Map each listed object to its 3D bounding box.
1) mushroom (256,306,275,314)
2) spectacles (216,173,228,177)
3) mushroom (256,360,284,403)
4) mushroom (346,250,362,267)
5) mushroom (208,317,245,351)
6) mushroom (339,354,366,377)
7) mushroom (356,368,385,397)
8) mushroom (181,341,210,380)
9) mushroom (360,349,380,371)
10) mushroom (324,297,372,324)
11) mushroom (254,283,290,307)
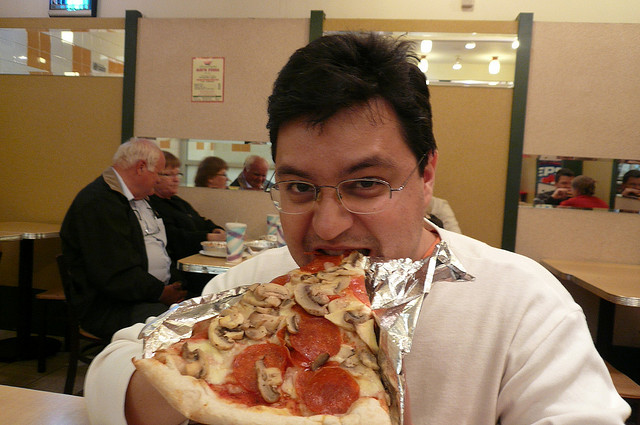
[{"bbox_3d":[-0.227,0.398,2.001,0.047,0.016,0.031,8,-4,-3],"label":"mushroom"},{"bbox_3d":[-0.954,-0.371,4.751,0.105,0.027,0.020,4,7,22],"label":"spectacles"},{"bbox_3d":[-0.191,0.639,1.822,0.095,0.124,0.031,0,-22,-6],"label":"mushroom"},{"bbox_3d":[0.139,0.196,2.108,0.059,0.062,0.076,0,6,-14],"label":"mushroom"},{"bbox_3d":[-0.376,0.481,1.941,0.140,0.120,0.052,3,8,10],"label":"mushroom"},{"bbox_3d":[0.114,0.580,1.852,0.076,0.021,0.071,-31,58,-31],"label":"mushroom"},{"bbox_3d":[0.182,0.647,1.855,0.081,0.084,0.034,0,-26,2],"label":"mushroom"},{"bbox_3d":[-0.481,0.578,1.901,0.082,0.025,0.100,24,26,10],"label":"mushroom"},{"bbox_3d":[0.192,0.565,1.885,0.059,0.067,0.026,-19,-22,-13],"label":"mushroom"},{"bbox_3d":[0.111,0.391,1.968,0.180,0.086,0.081,4,7,24],"label":"mushroom"},{"bbox_3d":[-0.207,0.326,2.017,0.127,0.032,0.083,-4,48,-7],"label":"mushroom"}]
